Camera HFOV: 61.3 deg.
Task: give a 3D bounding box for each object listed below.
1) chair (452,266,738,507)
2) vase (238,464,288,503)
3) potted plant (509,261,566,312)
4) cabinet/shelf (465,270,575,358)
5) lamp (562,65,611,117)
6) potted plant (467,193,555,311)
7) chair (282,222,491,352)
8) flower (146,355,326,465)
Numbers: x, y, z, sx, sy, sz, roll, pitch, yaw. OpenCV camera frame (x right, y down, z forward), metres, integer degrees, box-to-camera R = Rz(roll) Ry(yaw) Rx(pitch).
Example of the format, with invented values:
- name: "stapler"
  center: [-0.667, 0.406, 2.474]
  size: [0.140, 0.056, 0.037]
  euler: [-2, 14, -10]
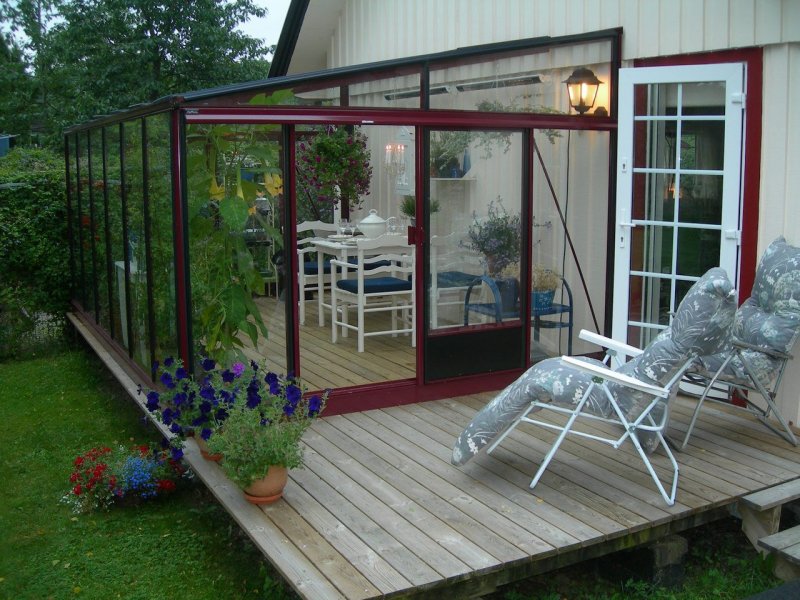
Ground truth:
- name: "chair"
  center: [1.291, 0.518, 4.770]
  size: [1.735, 1.481, 1.337]
  euler: [4, 7, 19]
- name: "vase"
  center: [-0.817, 1.143, 4.132]
  size: [0.230, 0.196, 0.246]
  euler: [0, 2, -15]
- name: "potted plant"
  center: [1.352, -0.113, 6.433]
  size: [0.406, 0.343, 0.440]
  euler: [1, -3, -12]
- name: "cabinet/shelf"
  center: [1.078, 0.045, 6.223]
  size: [0.878, 0.915, 0.633]
  euler: [-3, 7, -30]
- name: "lamp"
  center: [1.719, -1.919, 6.213]
  size: [0.426, 0.441, 0.188]
  euler: [-6, 14, -27]
- name: "potted plant"
  center: [0.838, -0.394, 6.338]
  size: [0.721, 1.260, 0.823]
  euler: [-1, 10, -2]
- name: "chair"
  center: [-0.607, -0.256, 8.063]
  size: [1.143, 1.091, 2.062]
  euler: [-3, 7, -20]
- name: "flower"
  center: [-1.168, 0.636, 4.472]
  size: [0.848, 0.549, 0.781]
  euler: [0, 5, -30]
